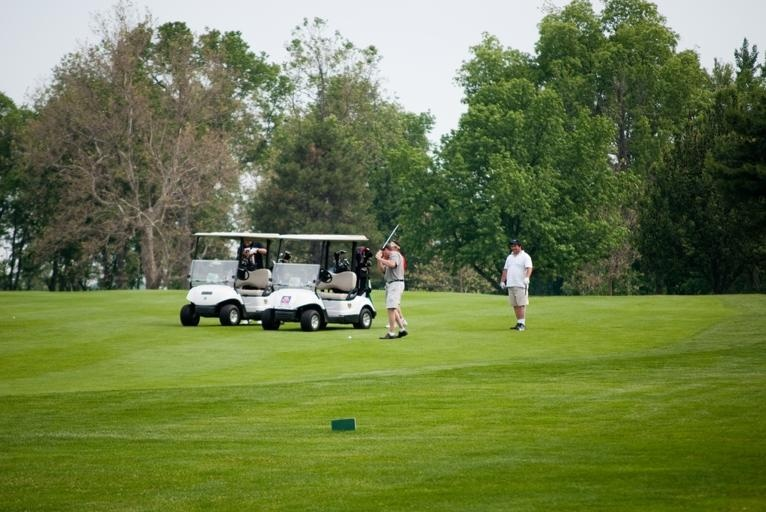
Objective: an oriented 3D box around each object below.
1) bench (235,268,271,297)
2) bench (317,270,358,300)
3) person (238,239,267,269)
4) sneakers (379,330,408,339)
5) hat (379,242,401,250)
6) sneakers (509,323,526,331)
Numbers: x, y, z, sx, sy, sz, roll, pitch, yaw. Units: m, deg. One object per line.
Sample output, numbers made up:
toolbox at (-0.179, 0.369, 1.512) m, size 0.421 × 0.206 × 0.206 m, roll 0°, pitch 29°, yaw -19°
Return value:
bench at (-3.658, 0.817, 26.718) m, size 0.860 × 0.749 × 0.816 m, roll -2°, pitch -9°, yaw 22°
bench at (-1.214, 0.785, 25.493) m, size 1.030 × 0.698 × 0.771 m, roll -2°, pitch -5°, yaw 26°
person at (-3.785, -0.031, 27.223) m, size 0.736 × 0.921 × 0.974 m, roll 1°, pitch -6°, yaw -7°
sneakers at (0.275, 1.946, 23.175) m, size 0.707 × 0.273 × 0.233 m, roll 2°, pitch -7°, yaw -19°
hat at (0.172, -0.274, 23.757) m, size 0.190 × 0.230 × 0.699 m, roll 1°, pitch 3°, yaw -27°
sneakers at (3.519, 1.872, 24.641) m, size 0.167 × 0.204 × 0.479 m, roll 5°, pitch -4°, yaw -41°
